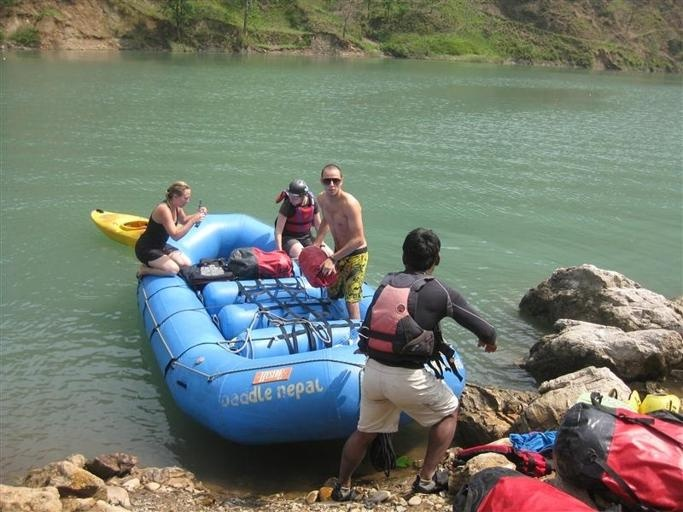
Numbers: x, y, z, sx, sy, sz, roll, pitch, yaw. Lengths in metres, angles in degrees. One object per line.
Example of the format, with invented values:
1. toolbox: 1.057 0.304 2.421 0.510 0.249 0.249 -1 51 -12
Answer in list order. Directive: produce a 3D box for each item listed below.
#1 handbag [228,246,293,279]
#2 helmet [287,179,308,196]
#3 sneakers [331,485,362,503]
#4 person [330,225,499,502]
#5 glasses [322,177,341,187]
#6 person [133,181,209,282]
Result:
1. handbag: -1.133 0.073 9.510 0.695 0.215 0.488 -1 9 -16
2. helmet: -0.627 -0.986 9.655 0.224 0.201 0.278 7 -12 31
3. sneakers: 0.030 2.365 6.811 0.203 0.063 0.180 8 7 3
4. person: 0.668 1.300 6.661 1.317 2.263 0.729 5 20 10
5. glasses: -0.115 -0.922 8.325 0.148 0.141 0.051 0 42 2
6. person: -2.605 -0.349 10.392 1.290 2.040 0.863 5 53 -17
